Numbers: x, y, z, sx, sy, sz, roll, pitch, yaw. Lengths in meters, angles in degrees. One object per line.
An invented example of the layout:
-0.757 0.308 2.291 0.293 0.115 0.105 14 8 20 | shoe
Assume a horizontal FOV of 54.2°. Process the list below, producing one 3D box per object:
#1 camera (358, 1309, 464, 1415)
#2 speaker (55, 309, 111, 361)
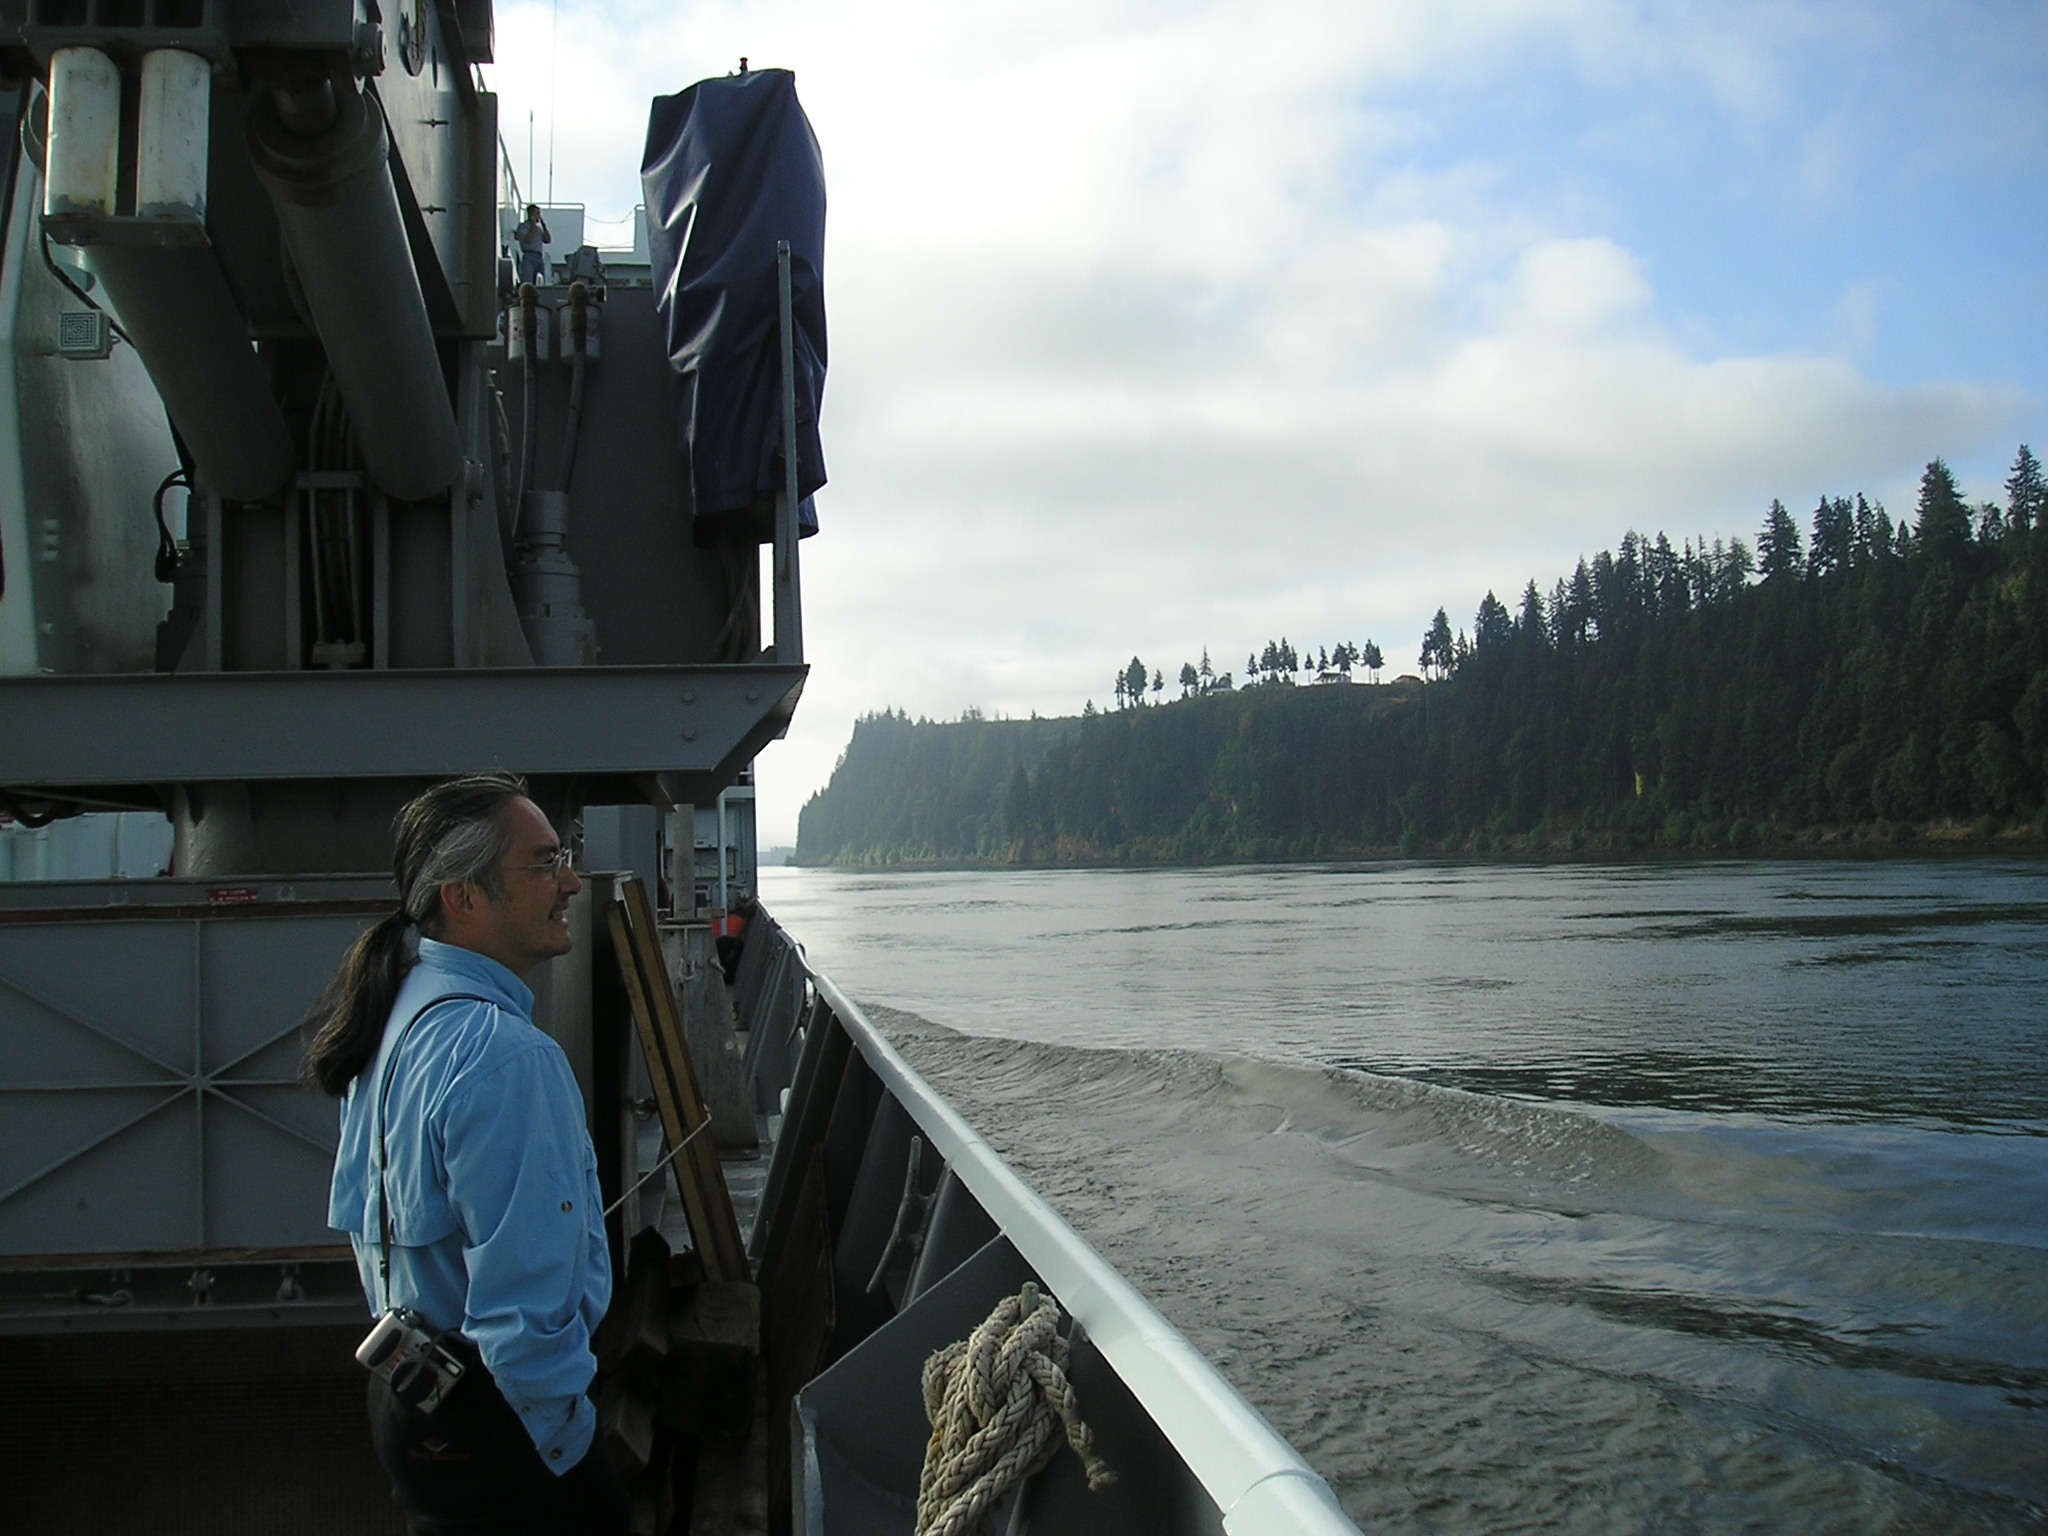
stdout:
-1.800 1.748 6.035 0.325 0.261 0.100 38 12 3 | camera
-5.159 -2.396 10.946 0.250 0.248 0.136 -3 3 -26 | speaker
